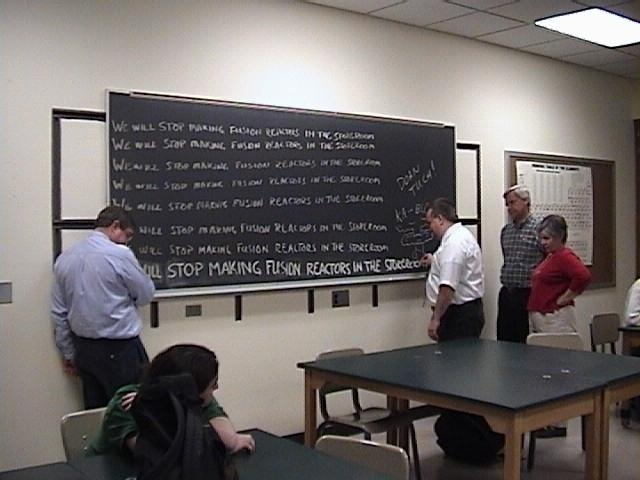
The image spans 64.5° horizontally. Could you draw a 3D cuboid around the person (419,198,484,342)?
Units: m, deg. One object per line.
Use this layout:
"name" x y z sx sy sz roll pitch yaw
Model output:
"person" 1.077 0.272 4.143 0.461 1.207 0.464 -1 5 16
